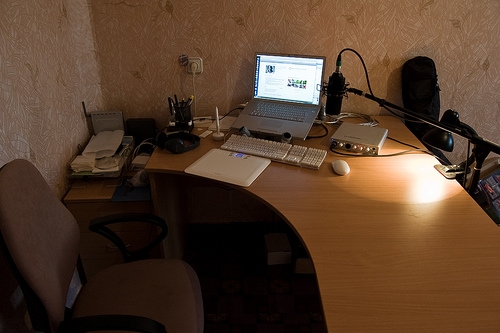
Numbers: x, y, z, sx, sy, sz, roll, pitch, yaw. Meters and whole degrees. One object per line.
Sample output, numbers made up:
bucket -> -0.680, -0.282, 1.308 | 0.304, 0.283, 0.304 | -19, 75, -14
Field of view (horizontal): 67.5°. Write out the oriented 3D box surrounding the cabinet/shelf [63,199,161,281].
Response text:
cabinet/shelf -> -0.826, 0.418, 2.564 | 0.573, 0.773, 0.458 | -3, 44, -6

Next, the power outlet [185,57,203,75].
power outlet -> -0.397, -0.714, 2.644 | 0.103, 0.104, 0.057 | 0, 25, 0

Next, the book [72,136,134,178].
book -> -0.970, -0.078, 2.436 | 0.252, 0.059, 0.261 | 1, 44, 4

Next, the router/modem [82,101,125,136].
router/modem -> -1.040, -0.358, 2.670 | 0.251, 0.254, 0.090 | -8, 25, -17

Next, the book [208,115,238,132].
book -> -0.175, -0.301, 2.616 | 0.124, 0.030, 0.129 | 10, 45, 22

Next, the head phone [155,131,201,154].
head phone -> -0.454, -0.153, 2.364 | 0.176, 0.071, 0.169 | 11, 27, 17

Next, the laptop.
laptop -> 0.224, -0.498, 2.531 | 0.599, 0.382, 0.596 | 13, 51, 16
